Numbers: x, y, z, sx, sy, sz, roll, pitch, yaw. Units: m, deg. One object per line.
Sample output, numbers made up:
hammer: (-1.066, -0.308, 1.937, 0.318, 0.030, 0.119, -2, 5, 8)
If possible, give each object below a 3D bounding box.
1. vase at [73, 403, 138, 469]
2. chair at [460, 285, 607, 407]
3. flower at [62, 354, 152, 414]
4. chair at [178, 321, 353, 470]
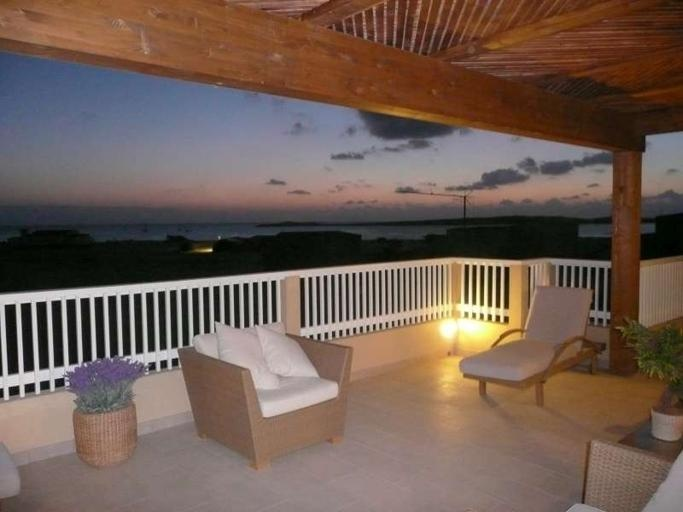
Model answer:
vase: (-2.050, 1.538, 4.562, 0.499, 0.415, 0.481, 0, 0, -37)
chair: (2.295, 0.979, 6.124, 1.995, 0.885, 0.932, -11, 11, -41)
flower: (-1.952, 1.078, 4.417, 0.493, 0.358, 0.571, 0, -1, 36)
chair: (-0.687, 1.166, 4.847, 1.286, 0.907, 1.169, -4, 9, -41)
